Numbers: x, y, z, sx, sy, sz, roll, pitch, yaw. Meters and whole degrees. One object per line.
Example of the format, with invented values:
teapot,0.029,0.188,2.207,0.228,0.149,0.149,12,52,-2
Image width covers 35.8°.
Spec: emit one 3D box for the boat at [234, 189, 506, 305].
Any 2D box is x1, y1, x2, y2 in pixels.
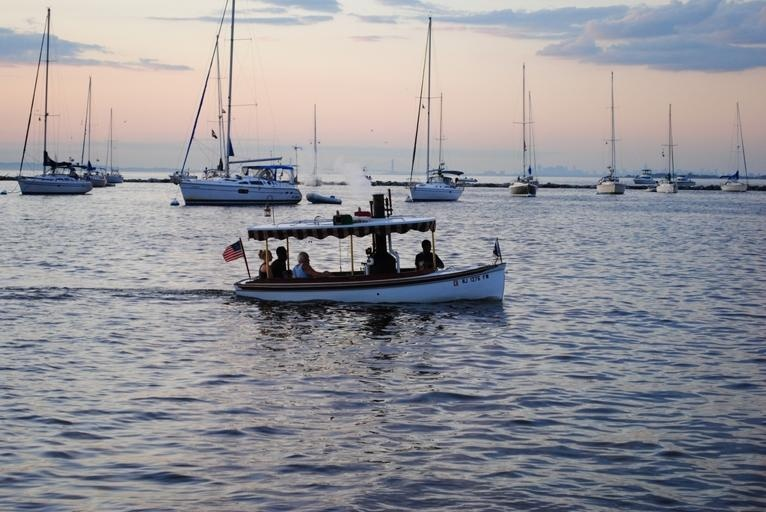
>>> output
boat,-0.322,-0.293,39.885,8.269,3.681,2.593,-1,3,-6
